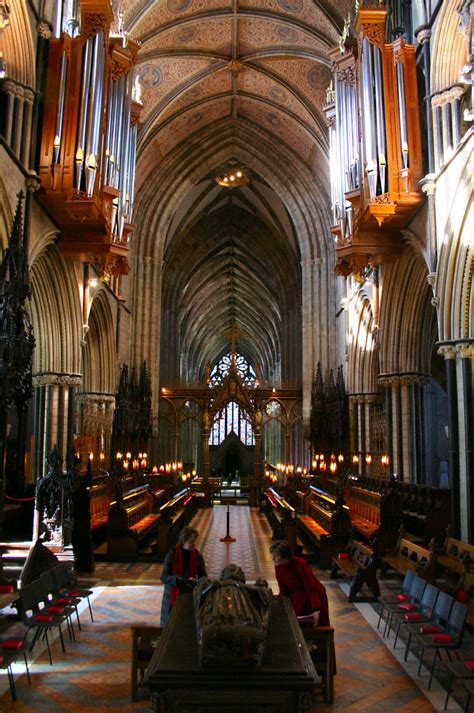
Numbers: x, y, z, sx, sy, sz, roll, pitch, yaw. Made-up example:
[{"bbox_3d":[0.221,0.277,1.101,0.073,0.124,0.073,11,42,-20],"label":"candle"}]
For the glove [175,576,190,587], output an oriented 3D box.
[{"bbox_3d":[-0.398,1.662,4.282,0.090,0.057,0.126,9,-13,-19],"label":"glove"}]
